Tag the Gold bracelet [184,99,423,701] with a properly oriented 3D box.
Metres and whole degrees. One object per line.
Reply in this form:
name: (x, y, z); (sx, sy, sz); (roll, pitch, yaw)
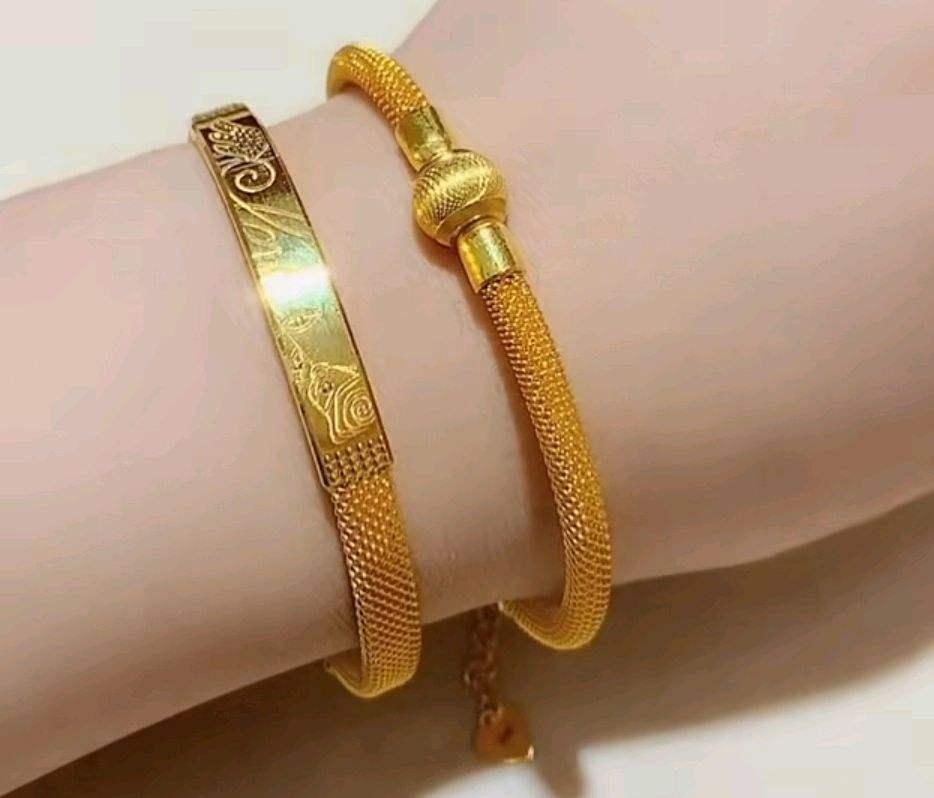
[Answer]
Gold bracelet: (-0.115, -0.014, 0.704); (0.068, 0.434, 0.173); (-18, 13, -8)
